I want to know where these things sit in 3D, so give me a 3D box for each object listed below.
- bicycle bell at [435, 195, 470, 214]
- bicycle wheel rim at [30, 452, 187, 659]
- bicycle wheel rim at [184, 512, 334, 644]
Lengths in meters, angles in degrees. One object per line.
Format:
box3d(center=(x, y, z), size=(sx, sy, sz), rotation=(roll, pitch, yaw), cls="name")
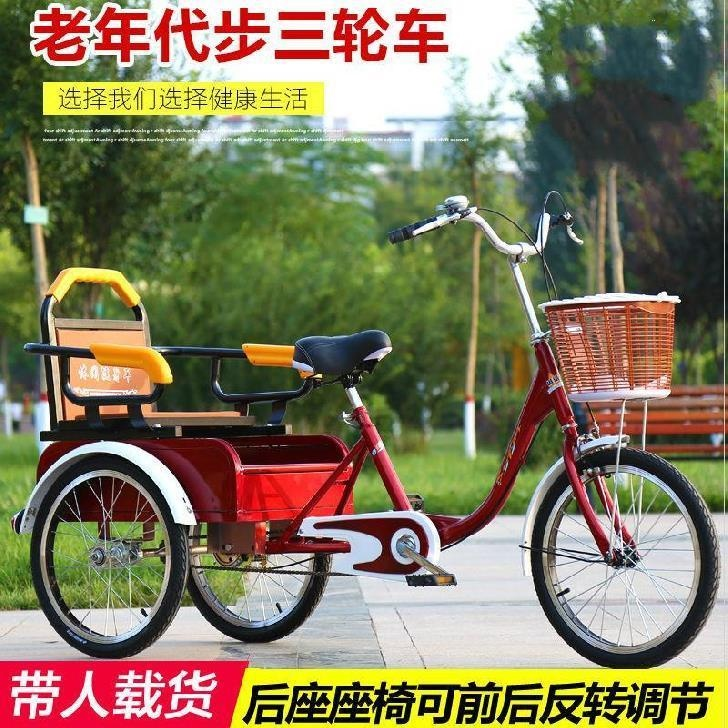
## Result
box3d(center=(0.415, -0.739, 7.556), size=(0.130, 0.058, 0.103), rotation=(-7, 5, 6), cls="bicycle bell")
box3d(center=(-1.232, 0.927, 7.874), size=(1.002, 1.066, 0.368), rotation=(0, 0, 31), cls="bicycle wheel rim")
box3d(center=(-0.516, 1.050, 8.004), size=(0.654, 0.695, 0.136), rotation=(3, 7, 13), cls="bicycle wheel rim")
